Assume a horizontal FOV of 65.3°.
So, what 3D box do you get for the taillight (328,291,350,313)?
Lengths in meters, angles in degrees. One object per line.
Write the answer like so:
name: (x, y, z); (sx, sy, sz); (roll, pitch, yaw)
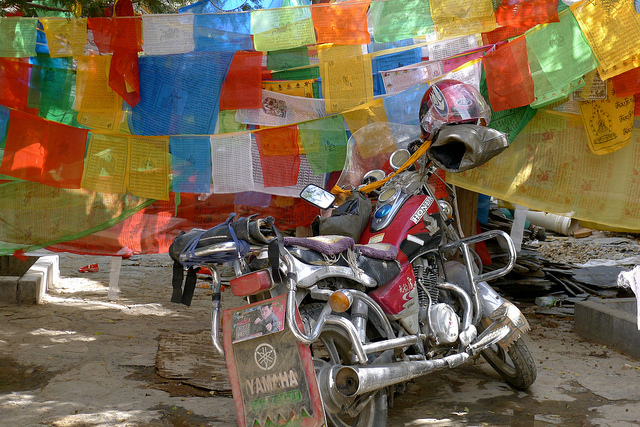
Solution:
taillight: (0.113, 0.521, 2.954); (0.131, 0.119, 0.071); (-13, 15, 36)
